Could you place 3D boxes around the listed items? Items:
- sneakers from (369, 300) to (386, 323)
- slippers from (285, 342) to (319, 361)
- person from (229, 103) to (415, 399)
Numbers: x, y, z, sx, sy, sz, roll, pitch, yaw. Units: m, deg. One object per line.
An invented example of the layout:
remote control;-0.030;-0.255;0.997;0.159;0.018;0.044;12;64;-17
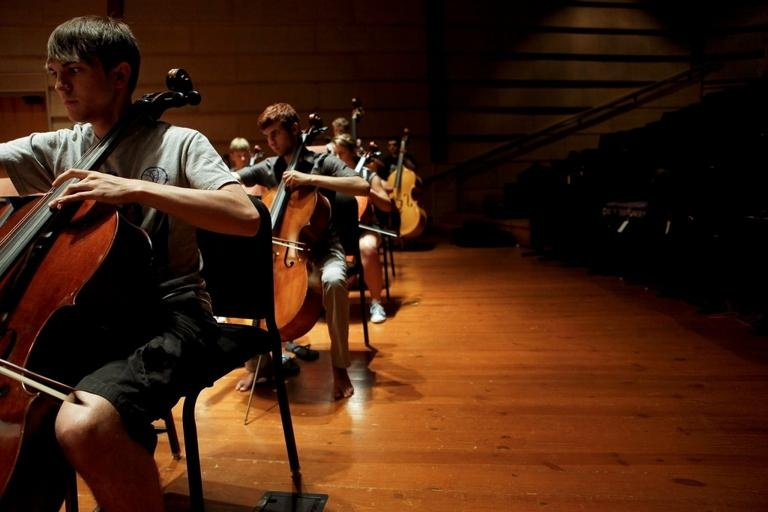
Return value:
sneakers;-0.056;0.401;4.616;0.161;0.145;0.391;-1;0;-6
slippers;-0.496;0.577;3.975;0.236;0.061;0.088;15;35;25
person;-0.365;-0.048;3.906;1.231;1.446;0.482;-2;-4;17
